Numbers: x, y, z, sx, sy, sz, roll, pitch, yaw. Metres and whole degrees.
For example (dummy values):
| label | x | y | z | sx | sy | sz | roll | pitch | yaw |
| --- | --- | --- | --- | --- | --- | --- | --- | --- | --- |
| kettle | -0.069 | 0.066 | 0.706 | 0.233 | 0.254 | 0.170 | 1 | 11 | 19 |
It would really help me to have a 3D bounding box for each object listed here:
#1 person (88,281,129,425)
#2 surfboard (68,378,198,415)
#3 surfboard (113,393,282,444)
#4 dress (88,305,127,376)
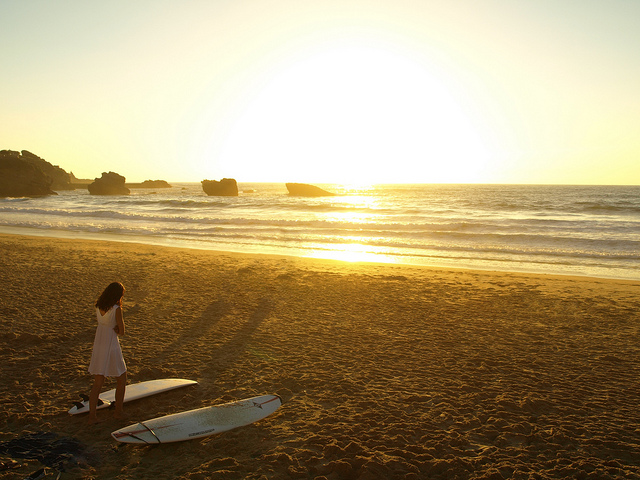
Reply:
| label | x | y | z | sx | sy | sz | roll | pitch | yaw |
| --- | --- | --- | --- | --- | --- | --- | --- | --- | --- |
| person | -3.808 | 2.038 | 8.244 | 0.685 | 2.585 | 0.394 | 0 | 6 | -19 |
| surfboard | -3.523 | 2.971 | 9.079 | 2.762 | 0.248 | 0.559 | -7 | 15 | -20 |
| surfboard | -1.762 | 3.326 | 8.505 | 3.976 | 0.349 | 0.713 | -6 | 32 | -11 |
| dress | -3.787 | 1.786 | 8.166 | 0.583 | 1.298 | 0.266 | 1 | 6 | -11 |
